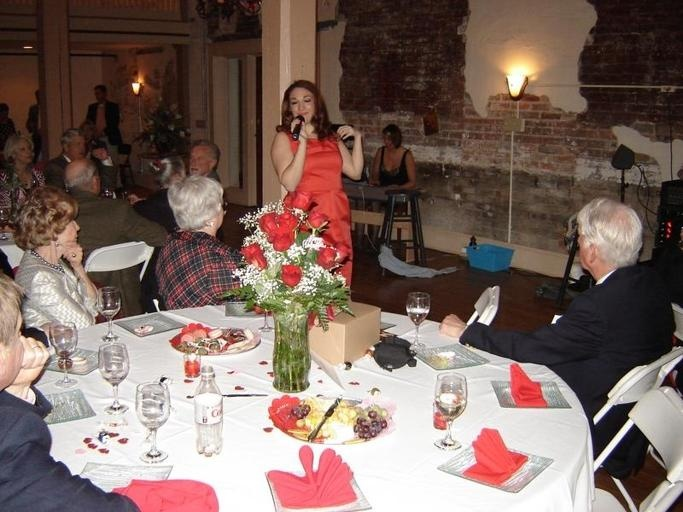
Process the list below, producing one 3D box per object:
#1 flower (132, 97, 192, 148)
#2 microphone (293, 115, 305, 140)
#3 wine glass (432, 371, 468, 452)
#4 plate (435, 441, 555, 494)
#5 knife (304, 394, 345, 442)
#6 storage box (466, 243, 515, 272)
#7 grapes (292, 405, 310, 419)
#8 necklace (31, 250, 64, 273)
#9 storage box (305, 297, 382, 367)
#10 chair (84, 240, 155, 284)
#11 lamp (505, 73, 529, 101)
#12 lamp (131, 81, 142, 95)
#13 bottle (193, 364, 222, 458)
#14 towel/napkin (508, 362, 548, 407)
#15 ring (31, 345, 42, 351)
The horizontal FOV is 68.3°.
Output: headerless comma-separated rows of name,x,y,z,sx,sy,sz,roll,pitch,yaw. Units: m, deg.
flower,-3.779,-2.695,10.554,0.977,1.043,1.046,5,22,32
microphone,-0.277,-0.832,3.312,0.052,0.181,0.055,1,-27,15
wine glass,0.337,0.492,1.562,0.122,0.297,0.137,2,18,11
plate,0.444,0.601,1.445,0.314,0.022,0.177,7,16,17
knife,-0.053,0.500,1.608,0.035,0.023,0.259,13,31,18
storage box,1.903,0.014,6.474,0.443,0.234,0.363,8,15,39
grapes,-0.127,0.501,1.620,0.036,0.021,0.041,10,18,41
necklace,-1.458,0.013,2.527,0.121,0.033,0.095,37,13,10
storage box,0.012,0.302,2.078,0.237,0.157,0.244,4,24,45
chair,-1.449,0.019,3.313,0.247,0.356,0.245,23,24,27
lamp,2.206,-2.106,6.318,0.221,0.307,0.181,15,20,42
lamp,-4.924,-4.046,12.171,0.166,0.335,0.565,-7,17,-29
bottle,-0.405,0.454,1.542,0.084,0.219,0.208,-3,16,-17
towel/napkin,0.677,0.446,1.805,0.105,0.034,0.111,0,25,11
ring,-0.837,0.252,1.386,0.015,0.005,0.014,12,11,-3
